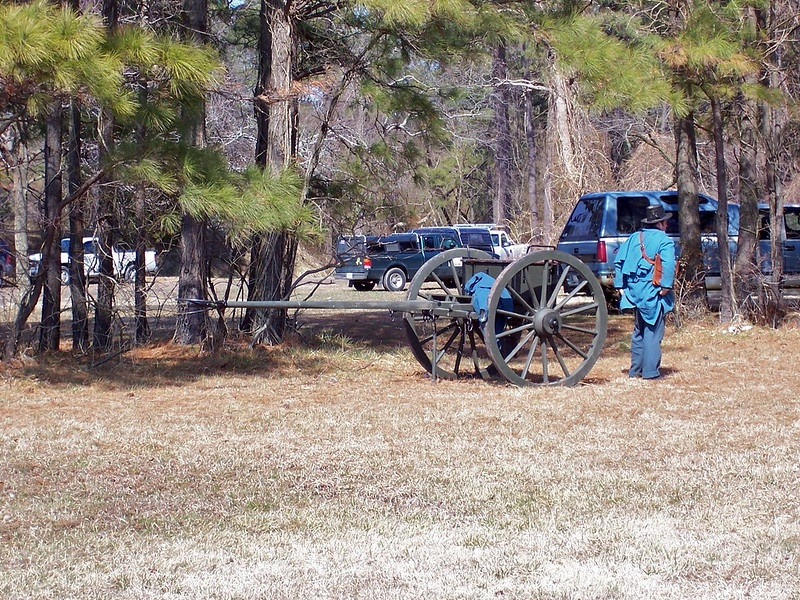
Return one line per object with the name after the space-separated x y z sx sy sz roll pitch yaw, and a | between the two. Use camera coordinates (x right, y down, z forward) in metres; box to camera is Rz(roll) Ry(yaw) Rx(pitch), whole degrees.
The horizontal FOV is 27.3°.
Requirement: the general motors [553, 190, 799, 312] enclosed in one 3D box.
4.605 -1.166 26.563 3.364 1.705 1.983 -6 5 -19 | general motors

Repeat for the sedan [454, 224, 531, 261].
1.907 -1.252 34.345 1.100 1.019 1.943 4 8 35 | sedan

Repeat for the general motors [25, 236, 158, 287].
-4.232 -0.555 22.585 1.768 0.826 0.889 2 0 -14 | general motors

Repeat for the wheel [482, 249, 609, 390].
1.913 0.118 21.700 1.357 1.622 5.384 1 2 6 | wheel

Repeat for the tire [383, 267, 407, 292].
-0.124 -0.522 35.789 0.419 0.504 0.158 -4 7 -26 | tire

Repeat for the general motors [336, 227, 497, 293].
0.360 -1.079 36.115 3.264 1.246 1.561 -8 7 -25 | general motors
